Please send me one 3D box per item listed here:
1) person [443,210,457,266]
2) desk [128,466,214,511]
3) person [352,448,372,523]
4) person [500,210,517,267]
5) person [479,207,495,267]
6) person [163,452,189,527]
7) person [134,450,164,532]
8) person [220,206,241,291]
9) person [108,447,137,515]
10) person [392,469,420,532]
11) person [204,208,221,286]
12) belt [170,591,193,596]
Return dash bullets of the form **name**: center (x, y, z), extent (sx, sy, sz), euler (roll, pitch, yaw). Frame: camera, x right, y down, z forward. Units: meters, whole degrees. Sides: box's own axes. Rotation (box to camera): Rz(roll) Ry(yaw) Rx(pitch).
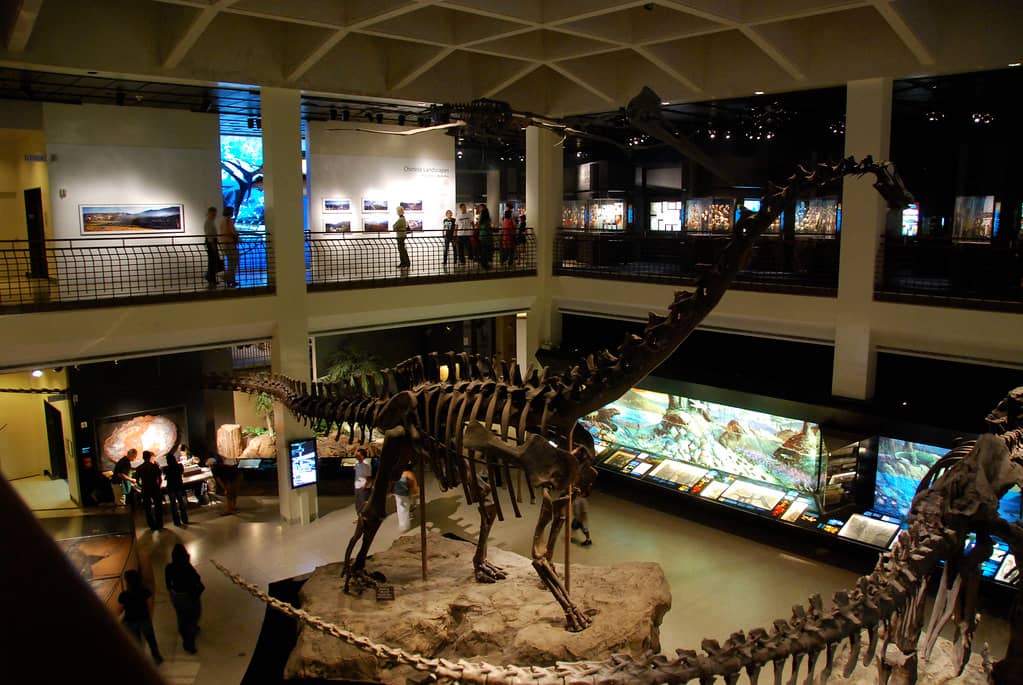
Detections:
- **person**: center (-1.559, -2.624, 17.626), extent (0.364, 1.399, 1.335), euler (-2, 8, -5)
- **desk**: center (-7.125, 3.245, 15.440), extent (1.273, 0.609, 1.265), euler (-3, 8, -27)
- **person**: center (-2.941, 2.674, 13.734), extent (0.295, 1.321, 0.599), euler (-2, 8, -7)
- **person**: center (-0.081, -2.707, 18.067), extent (0.456, 1.474, 0.896), euler (-1, 8, 1)
- **person**: center (-0.644, -2.630, 17.411), extent (0.368, 1.566, 0.428), euler (-2, 8, -5)
- **person**: center (-7.058, 3.078, 14.547), extent (0.358, 1.622, 0.635), euler (-6, 9, -27)
- **person**: center (-7.468, 3.008, 14.297), extent (0.451, 1.772, 0.914), euler (-6, 10, -30)
- **person**: center (-6.042, -2.081, 14.873), extent (0.340, 1.711, 1.374), euler (-5, 9, -22)
- **person**: center (-8.403, 2.917, 15.011), extent (0.475, 1.441, 1.401), euler (-6, 10, -30)
- **person**: center (-2.183, 3.210, 14.446), extent (0.451, 1.508, 1.343), euler (-3, 8, -8)
- **person**: center (-6.395, -2.063, 14.791), extent (0.347, 1.687, 1.404), euler (-5, 9, -22)
- **belt**: center (-4.964, 3.747, 10.396), extent (0.144, 0.035, 0.141), euler (3, 1, 14)
